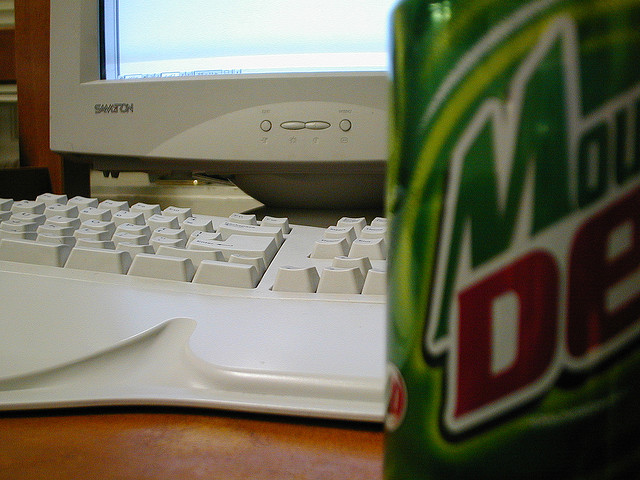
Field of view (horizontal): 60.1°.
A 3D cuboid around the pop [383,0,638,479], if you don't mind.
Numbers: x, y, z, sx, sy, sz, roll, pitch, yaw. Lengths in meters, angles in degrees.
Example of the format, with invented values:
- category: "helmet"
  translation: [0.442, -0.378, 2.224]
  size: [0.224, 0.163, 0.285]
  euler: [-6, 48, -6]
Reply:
- category: "pop"
  translation: [0.050, 0.002, 0.147]
  size: [0.065, 0.130, 0.037]
  euler: [1, 14, 11]

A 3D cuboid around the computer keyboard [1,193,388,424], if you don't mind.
- category: "computer keyboard"
  translation: [-0.115, 0.022, 0.401]
  size: [0.325, 0.062, 0.283]
  euler: [0, 14, 8]
